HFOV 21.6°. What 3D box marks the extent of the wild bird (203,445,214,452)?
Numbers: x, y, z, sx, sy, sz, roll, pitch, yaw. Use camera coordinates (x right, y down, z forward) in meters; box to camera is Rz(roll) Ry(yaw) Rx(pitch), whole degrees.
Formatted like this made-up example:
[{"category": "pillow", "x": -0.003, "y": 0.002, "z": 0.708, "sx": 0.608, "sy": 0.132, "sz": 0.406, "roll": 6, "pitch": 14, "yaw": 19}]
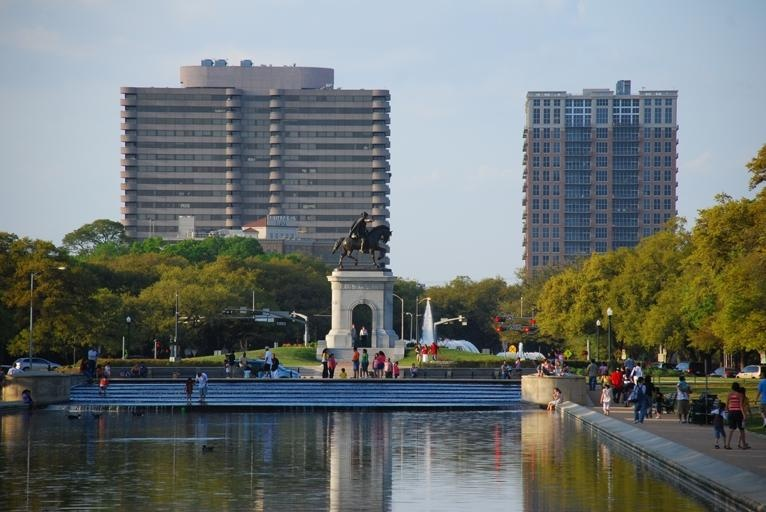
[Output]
[{"category": "wild bird", "x": -14.422, "y": 15.986, "z": 166.450, "sx": 0.925, "sy": 0.689, "sz": 1.885, "roll": 0, "pitch": -8, "yaw": -5}]
